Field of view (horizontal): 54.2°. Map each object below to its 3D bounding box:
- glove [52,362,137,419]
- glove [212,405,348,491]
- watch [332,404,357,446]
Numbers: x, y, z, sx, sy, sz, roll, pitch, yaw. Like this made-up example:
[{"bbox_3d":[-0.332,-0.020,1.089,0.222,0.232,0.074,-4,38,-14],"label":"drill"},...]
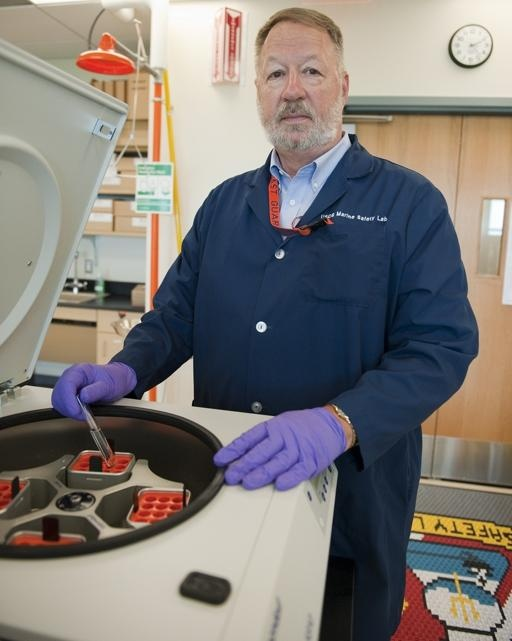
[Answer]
[{"bbox_3d":[-0.289,0.126,0.868,0.120,0.072,0.219,2,10,-1],"label":"glove"},{"bbox_3d":[0.042,0.191,0.720,0.115,0.071,0.243,8,11,29],"label":"glove"},{"bbox_3d":[0.133,0.173,0.827,0.042,0.057,0.021,-25,-18,-27],"label":"watch"}]
